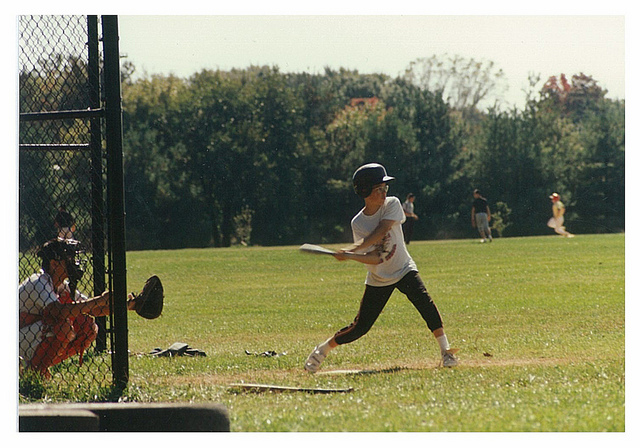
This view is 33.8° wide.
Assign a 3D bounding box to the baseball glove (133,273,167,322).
[{"bbox_3d":[-3.038,1.274,18.321,0.549,0.748,0.226,-7,12,-20],"label":"baseball glove"}]

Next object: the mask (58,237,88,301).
[{"bbox_3d":[-4.435,0.701,18.778,0.429,1.220,0.473,-4,12,-10],"label":"mask"}]
